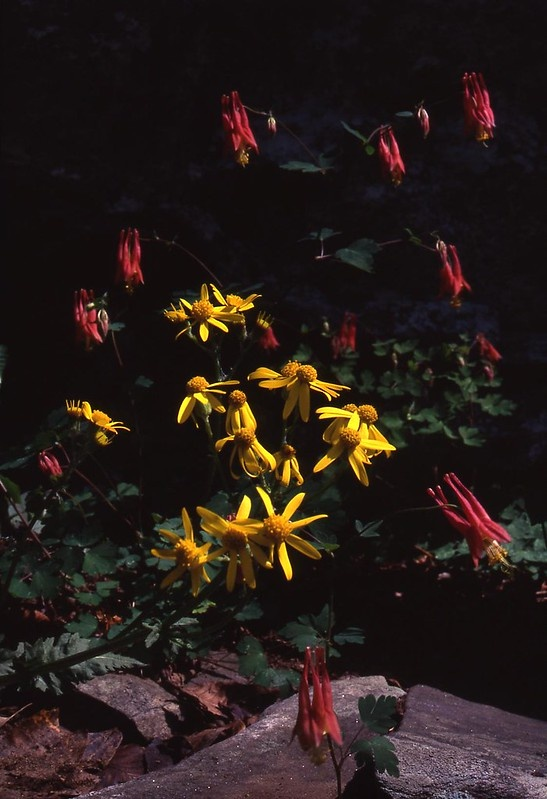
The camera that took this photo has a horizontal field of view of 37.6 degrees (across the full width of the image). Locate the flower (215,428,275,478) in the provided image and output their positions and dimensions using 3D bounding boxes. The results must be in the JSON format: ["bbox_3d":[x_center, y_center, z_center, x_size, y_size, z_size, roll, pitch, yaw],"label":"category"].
[{"bbox_3d":[-0.082,0.183,2.950,0.191,0.186,0.123,-6,0,19],"label":"flower"}]

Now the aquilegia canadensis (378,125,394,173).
[{"bbox_3d":[0.526,-1.168,3.758,0.056,0.201,0.084,-3,-12,9],"label":"aquilegia canadensis"}]

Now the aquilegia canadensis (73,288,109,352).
[{"bbox_3d":[-0.839,-0.361,3.657,0.155,0.255,0.215,5,15,43],"label":"aquilegia canadensis"}]

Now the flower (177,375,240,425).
[{"bbox_3d":[-0.281,0.026,3.073,0.227,0.209,0.106,-5,-45,21],"label":"flower"}]

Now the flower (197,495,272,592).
[{"bbox_3d":[-0.134,0.486,2.702,0.244,0.312,0.249,-1,-11,-2],"label":"flower"}]

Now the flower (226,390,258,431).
[{"bbox_3d":[-0.128,0.059,2.972,0.101,0.168,0.220,0,-11,-3],"label":"flower"}]

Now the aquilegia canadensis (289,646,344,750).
[{"bbox_3d":[0.139,1.003,2.688,0.152,0.329,0.244,-1,-11,1],"label":"aquilegia canadensis"}]

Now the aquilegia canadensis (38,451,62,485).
[{"bbox_3d":[-0.995,0.309,3.570,0.101,0.144,0.052,-31,3,-27],"label":"aquilegia canadensis"}]

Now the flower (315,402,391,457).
[{"bbox_3d":[0.290,0.080,2.981,0.230,0.137,0.222,13,27,17],"label":"flower"}]

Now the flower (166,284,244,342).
[{"bbox_3d":[-0.263,-0.424,3.291,0.366,0.330,0.127,2,15,12],"label":"flower"}]

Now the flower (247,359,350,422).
[{"bbox_3d":[0.081,0.007,3.073,0.311,0.161,0.300,10,18,-38],"label":"flower"}]

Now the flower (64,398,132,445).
[{"bbox_3d":[-0.814,0.071,3.487,0.264,0.108,0.266,32,-8,44],"label":"flower"}]

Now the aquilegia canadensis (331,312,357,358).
[{"bbox_3d":[0.387,-0.356,4.454,0.104,0.232,0.224,2,-12,-15],"label":"aquilegia canadensis"}]

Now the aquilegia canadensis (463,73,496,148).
[{"bbox_3d":[0.973,-1.427,3.854,0.130,0.402,0.206,-6,-12,23],"label":"aquilegia canadensis"}]

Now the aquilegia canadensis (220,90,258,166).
[{"bbox_3d":[-0.158,-1.291,3.797,0.137,0.407,0.267,-3,-12,12],"label":"aquilegia canadensis"}]
